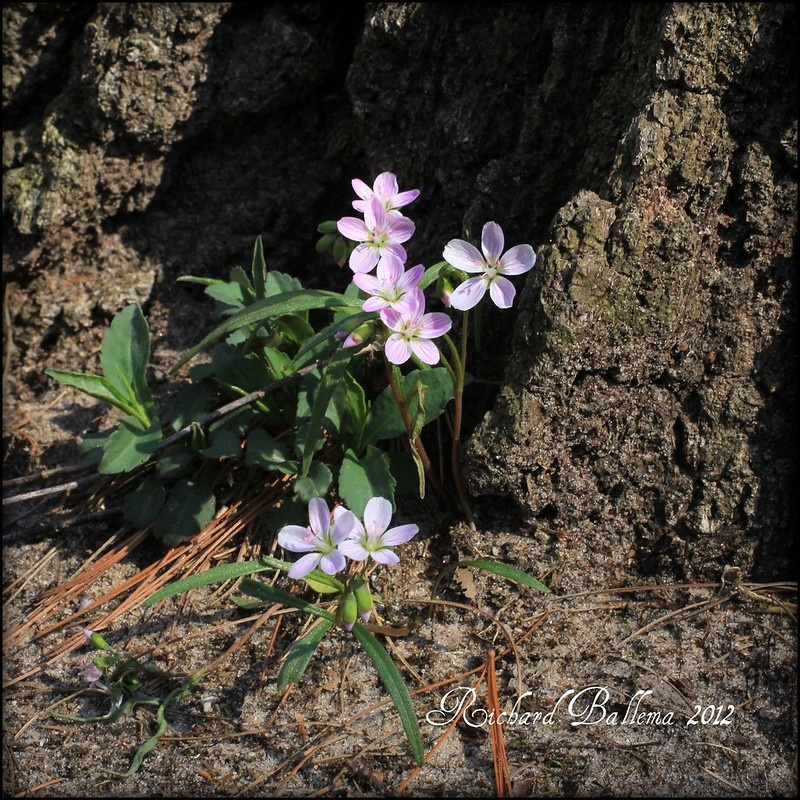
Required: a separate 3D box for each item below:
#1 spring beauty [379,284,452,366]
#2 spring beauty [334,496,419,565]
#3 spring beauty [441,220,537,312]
[{"bbox_3d":[0.044,-0.203,2.936,0.279,0.212,0.109,11,18,31],"label":"spring beauty"},{"bbox_3d":[-0.074,0.415,3.049,0.189,0.072,0.166,14,5,24],"label":"spring beauty"},{"bbox_3d":[0.270,-0.391,3.082,0.318,0.082,0.314,-1,-16,33],"label":"spring beauty"}]
